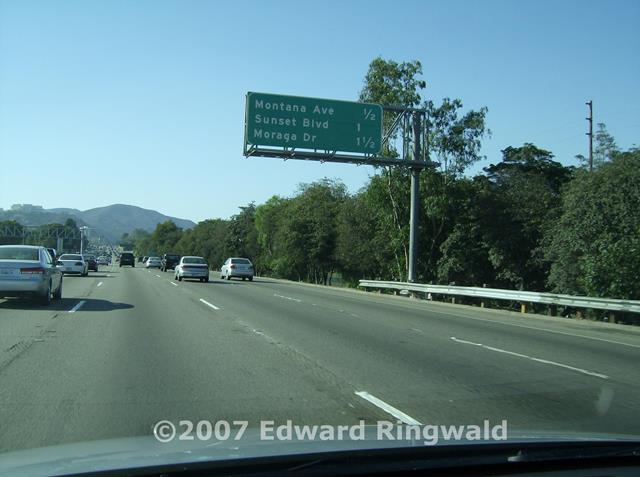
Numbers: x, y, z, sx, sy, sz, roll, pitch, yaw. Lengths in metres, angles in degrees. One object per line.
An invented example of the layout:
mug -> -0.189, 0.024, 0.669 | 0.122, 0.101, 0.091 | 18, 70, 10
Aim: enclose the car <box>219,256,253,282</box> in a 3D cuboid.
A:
car -> -5.550, 1.987, 48.034 | 1.110, 1.089, 2.927 | 1, 1, -15
